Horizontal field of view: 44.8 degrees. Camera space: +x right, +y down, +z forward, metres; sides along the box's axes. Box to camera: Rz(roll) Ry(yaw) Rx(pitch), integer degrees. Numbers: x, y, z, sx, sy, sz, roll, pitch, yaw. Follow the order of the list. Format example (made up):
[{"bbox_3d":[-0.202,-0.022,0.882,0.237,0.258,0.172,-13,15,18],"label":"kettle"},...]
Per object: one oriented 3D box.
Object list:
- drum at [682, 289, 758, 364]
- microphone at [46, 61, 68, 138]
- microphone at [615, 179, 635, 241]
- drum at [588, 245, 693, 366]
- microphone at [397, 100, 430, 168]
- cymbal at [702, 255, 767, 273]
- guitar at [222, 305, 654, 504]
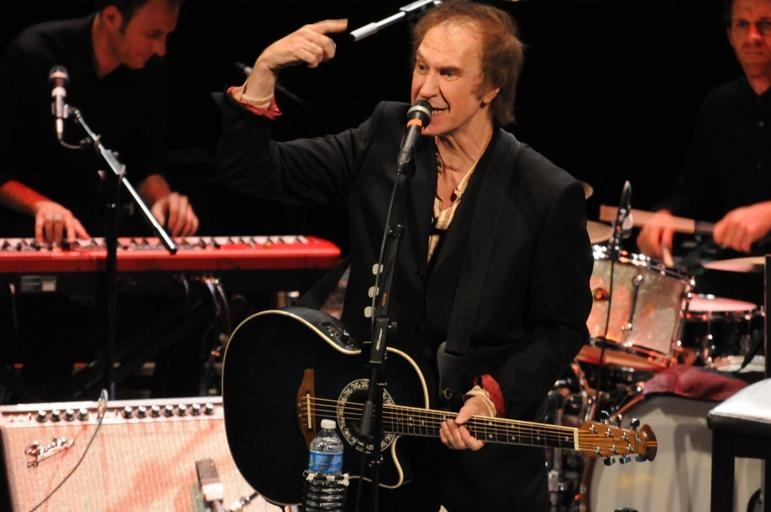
[{"bbox_3d":[2.218,0.437,6.195,0.506,0.540,0.508,5,3,22],"label":"drum"},{"bbox_3d":[-2.058,-0.964,5.869,0.115,0.468,0.289,2,1,-19],"label":"microphone"},{"bbox_3d":[1.516,-0.277,5.981,0.104,0.294,0.342,3,1,14],"label":"microphone"},{"bbox_3d":[1.562,0.328,6.056,0.802,0.607,0.779,9,8,-1],"label":"drum"},{"bbox_3d":[0.131,-0.542,4.257,0.128,0.348,0.260,3,1,6],"label":"microphone"},{"bbox_3d":[2.399,0.061,6.331,0.328,0.097,0.470,2,1,-12],"label":"cymbal"},{"bbox_3d":[0.286,0.759,4.525,2.027,0.900,0.278,7,4,16],"label":"guitar"}]
